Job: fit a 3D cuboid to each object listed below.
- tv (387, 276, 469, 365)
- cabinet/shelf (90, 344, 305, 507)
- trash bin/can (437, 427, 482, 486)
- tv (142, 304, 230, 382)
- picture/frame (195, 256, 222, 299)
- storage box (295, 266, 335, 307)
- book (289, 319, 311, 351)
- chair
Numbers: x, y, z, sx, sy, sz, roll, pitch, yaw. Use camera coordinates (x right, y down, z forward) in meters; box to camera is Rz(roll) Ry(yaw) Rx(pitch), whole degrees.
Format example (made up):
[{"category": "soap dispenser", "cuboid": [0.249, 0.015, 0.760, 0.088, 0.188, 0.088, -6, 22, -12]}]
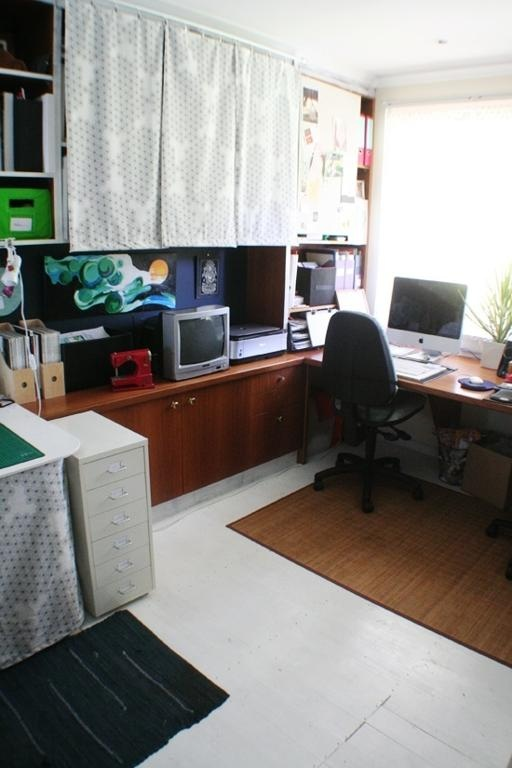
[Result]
[{"category": "tv", "cuboid": [0.961, -0.342, 3.005, 0.384, 0.423, 0.141, 20, 30, 37]}, {"category": "cabinet/shelf", "cuboid": [-0.284, 0.186, 2.500, 0.199, 0.366, 0.684, 16, 26, 39]}, {"category": "trash bin/can", "cuboid": [1.128, 0.406, 2.966, 0.175, 0.287, 0.214, -7, 18, -16]}, {"category": "tv", "cuboid": [-0.352, -0.239, 2.631, 0.355, 0.340, 0.363, 17, 27, 35]}, {"category": "picture/frame", "cuboid": [-0.272, -0.598, 3.005, 0.029, 0.235, 0.190, 13, 20, 29]}, {"category": "storage box", "cuboid": [0.377, -0.624, 3.352, 0.245, 0.260, 0.242, -16, 30, -35]}, {"category": "book", "cuboid": [0.248, -0.292, 3.199, 0.125, 0.069, 0.175, -15, 28, -35]}, {"category": "chair", "cuboid": [0.601, 0.149, 2.879, 0.520, 1.037, 0.578, -23, 33, -31]}]
